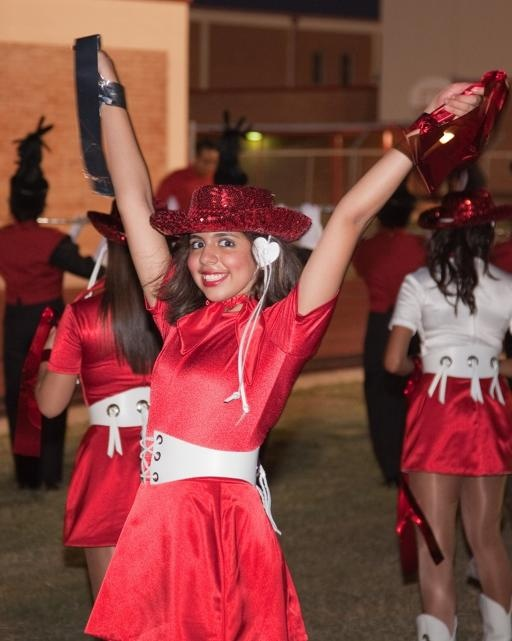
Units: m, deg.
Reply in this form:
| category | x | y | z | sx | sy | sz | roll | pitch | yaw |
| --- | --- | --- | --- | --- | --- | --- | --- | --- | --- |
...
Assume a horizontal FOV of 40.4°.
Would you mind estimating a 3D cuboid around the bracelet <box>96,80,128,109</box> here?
| category | x | y | z | sx | sy | sz | roll | pitch | yaw |
| --- | --- | --- | --- | --- | --- | --- | --- | --- | --- |
| bracelet | -0.291 | -0.457 | 1.402 | 0.052 | 0.044 | 0.061 | 2 | -2 | 29 |
